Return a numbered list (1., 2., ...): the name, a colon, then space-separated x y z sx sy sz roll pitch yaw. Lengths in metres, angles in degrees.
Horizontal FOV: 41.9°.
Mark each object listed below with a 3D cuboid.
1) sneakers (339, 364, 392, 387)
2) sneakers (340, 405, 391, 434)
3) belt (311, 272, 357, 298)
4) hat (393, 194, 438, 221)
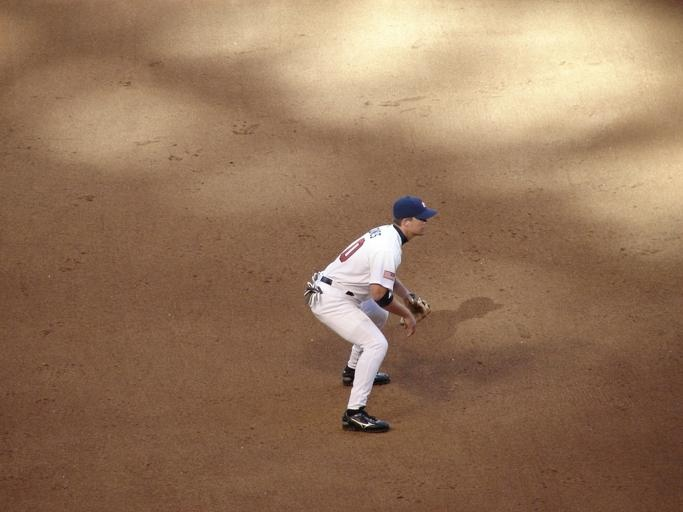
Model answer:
1. sneakers: 0.276 1.406 10.677 0.609 0.254 0.222 -3 24 -3
2. sneakers: 0.225 1.822 9.927 0.619 0.259 0.215 1 11 1
3. belt: -0.098 0.315 10.041 0.383 0.114 0.281 32 -3 -2
4. hat: 0.789 -0.537 9.894 0.426 0.204 0.267 -3 20 1
